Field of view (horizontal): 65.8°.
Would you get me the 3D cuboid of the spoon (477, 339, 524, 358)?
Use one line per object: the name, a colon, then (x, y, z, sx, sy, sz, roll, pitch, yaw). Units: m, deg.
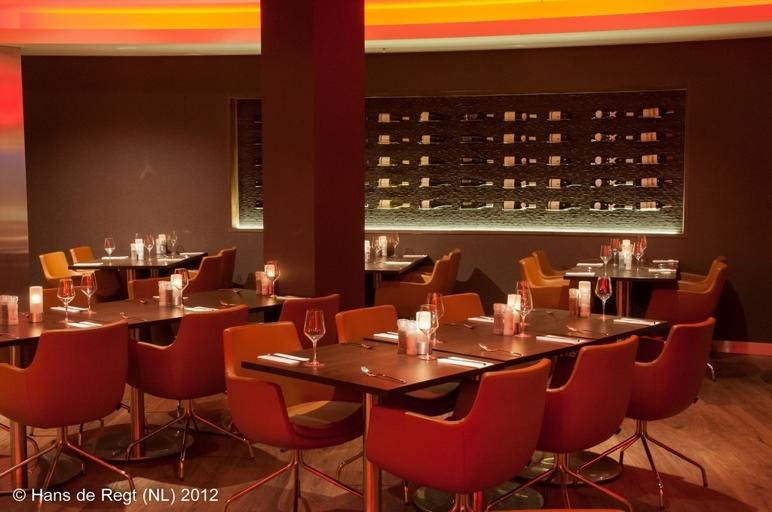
spoon: (0.728, 0.599, 3.900, 0.080, 0.063, 0.451, -6, 2, -33)

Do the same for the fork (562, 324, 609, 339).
fork: (1.437, 0.538, 4.323, 0.075, 0.062, 0.403, -11, 7, -34)

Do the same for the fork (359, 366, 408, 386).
fork: (-0.014, 0.692, 3.402, 0.386, 0.050, 0.084, 1, 5, 41)
